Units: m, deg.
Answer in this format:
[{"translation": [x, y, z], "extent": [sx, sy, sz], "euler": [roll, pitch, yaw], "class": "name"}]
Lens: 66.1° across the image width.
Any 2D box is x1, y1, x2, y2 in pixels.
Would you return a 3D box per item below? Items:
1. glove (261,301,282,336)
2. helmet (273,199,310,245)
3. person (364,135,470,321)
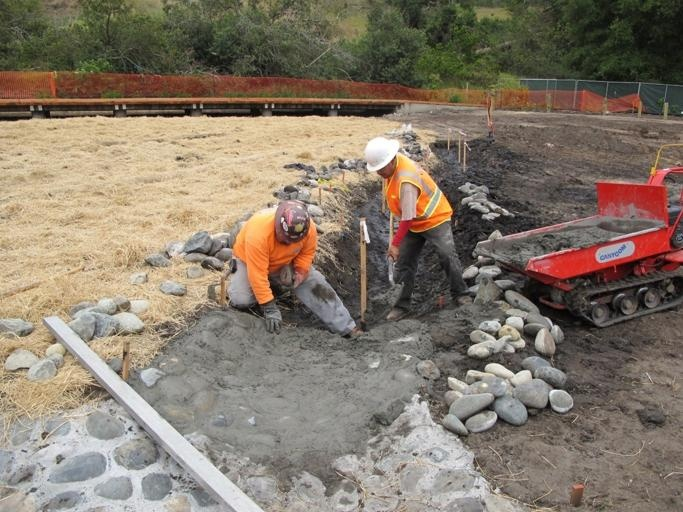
[{"translation": [-0.704, 0.638, 5.317], "extent": [0.214, 0.310, 0.120], "euler": [-19, -18, -14], "class": "glove"}, {"translation": [-0.529, -0.332, 5.077], "extent": [0.373, 0.380, 0.343], "euler": [-2, 0, -27], "class": "helmet"}, {"translation": [0.842, -0.265, 5.750], "extent": [0.997, 2.126, 0.807], "euler": [-4, 28, 7], "class": "person"}]
